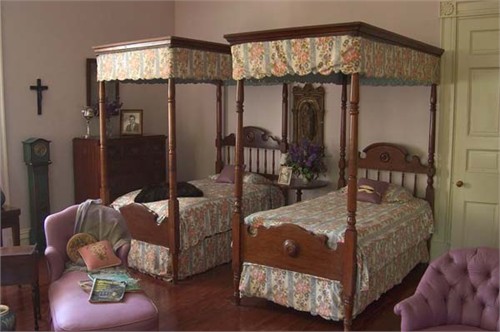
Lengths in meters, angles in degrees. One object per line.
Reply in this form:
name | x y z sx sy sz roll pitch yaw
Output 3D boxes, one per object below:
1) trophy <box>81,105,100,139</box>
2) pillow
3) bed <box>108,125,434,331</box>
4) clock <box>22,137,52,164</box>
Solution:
trophy | -2.806 -0.786 7.043 0.285 0.519 0.501 -5 15 -21
pillow | -1.917 1.027 4.807 0.457 0.150 0.491 -5 47 -43
bed | 0.593 0.720 6.131 3.808 1.697 3.115 10 18 32
clock | -3.426 -0.210 6.562 0.351 0.420 0.271 -7 -16 2
